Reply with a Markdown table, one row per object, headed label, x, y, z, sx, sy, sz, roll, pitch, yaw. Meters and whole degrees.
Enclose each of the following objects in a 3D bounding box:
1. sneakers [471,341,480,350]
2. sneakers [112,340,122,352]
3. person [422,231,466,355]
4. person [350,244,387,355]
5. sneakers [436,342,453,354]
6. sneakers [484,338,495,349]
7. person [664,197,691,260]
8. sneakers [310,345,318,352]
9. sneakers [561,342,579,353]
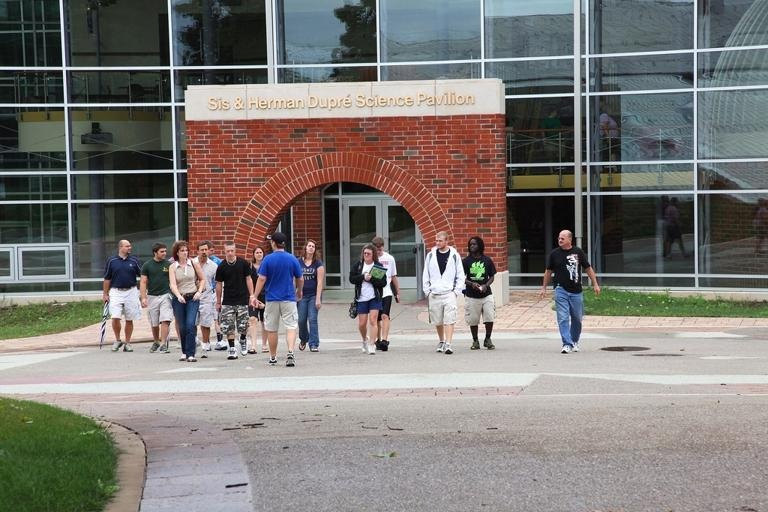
| label | x | y | z | sx | sy | sz | roll | pitch | yaw |
| --- | --- | --- | --- | --- | --- | --- | --- | --- | --- |
| sneakers | 1.701 | 1.687 | 18.390 | 0.148 | 0.133 | 0.348 | -1 | -6 | 11 |
| sneakers | -5.325 | 1.798 | 19.555 | 0.114 | 0.117 | 0.319 | 2 | 9 | 0 |
| person | 1.115 | 0.692 | 18.262 | 0.754 | 2.233 | 1.096 | -2 | 6 | 3 |
| person | -0.294 | 0.807 | 18.328 | 0.664 | 1.961 | 0.877 | -4 | 7 | -19 |
| sneakers | 1.090 | 1.683 | 17.977 | 0.290 | 0.202 | 0.408 | -2 | 6 | 3 |
| sneakers | 1.949 | 1.641 | 18.301 | 0.184 | 0.184 | 0.333 | -1 | 6 | 7 |
| person | 7.741 | -0.733 | 26.138 | 0.654 | 1.623 | 0.147 | -1 | 7 | 13 |
| sneakers | -1.344 | 1.768 | 18.668 | 0.099 | 0.090 | 0.234 | 0 | -7 | -5 |
| sneakers | 3.333 | 1.691 | 17.631 | 0.140 | 0.160 | 0.395 | -2 | -7 | 34 |
